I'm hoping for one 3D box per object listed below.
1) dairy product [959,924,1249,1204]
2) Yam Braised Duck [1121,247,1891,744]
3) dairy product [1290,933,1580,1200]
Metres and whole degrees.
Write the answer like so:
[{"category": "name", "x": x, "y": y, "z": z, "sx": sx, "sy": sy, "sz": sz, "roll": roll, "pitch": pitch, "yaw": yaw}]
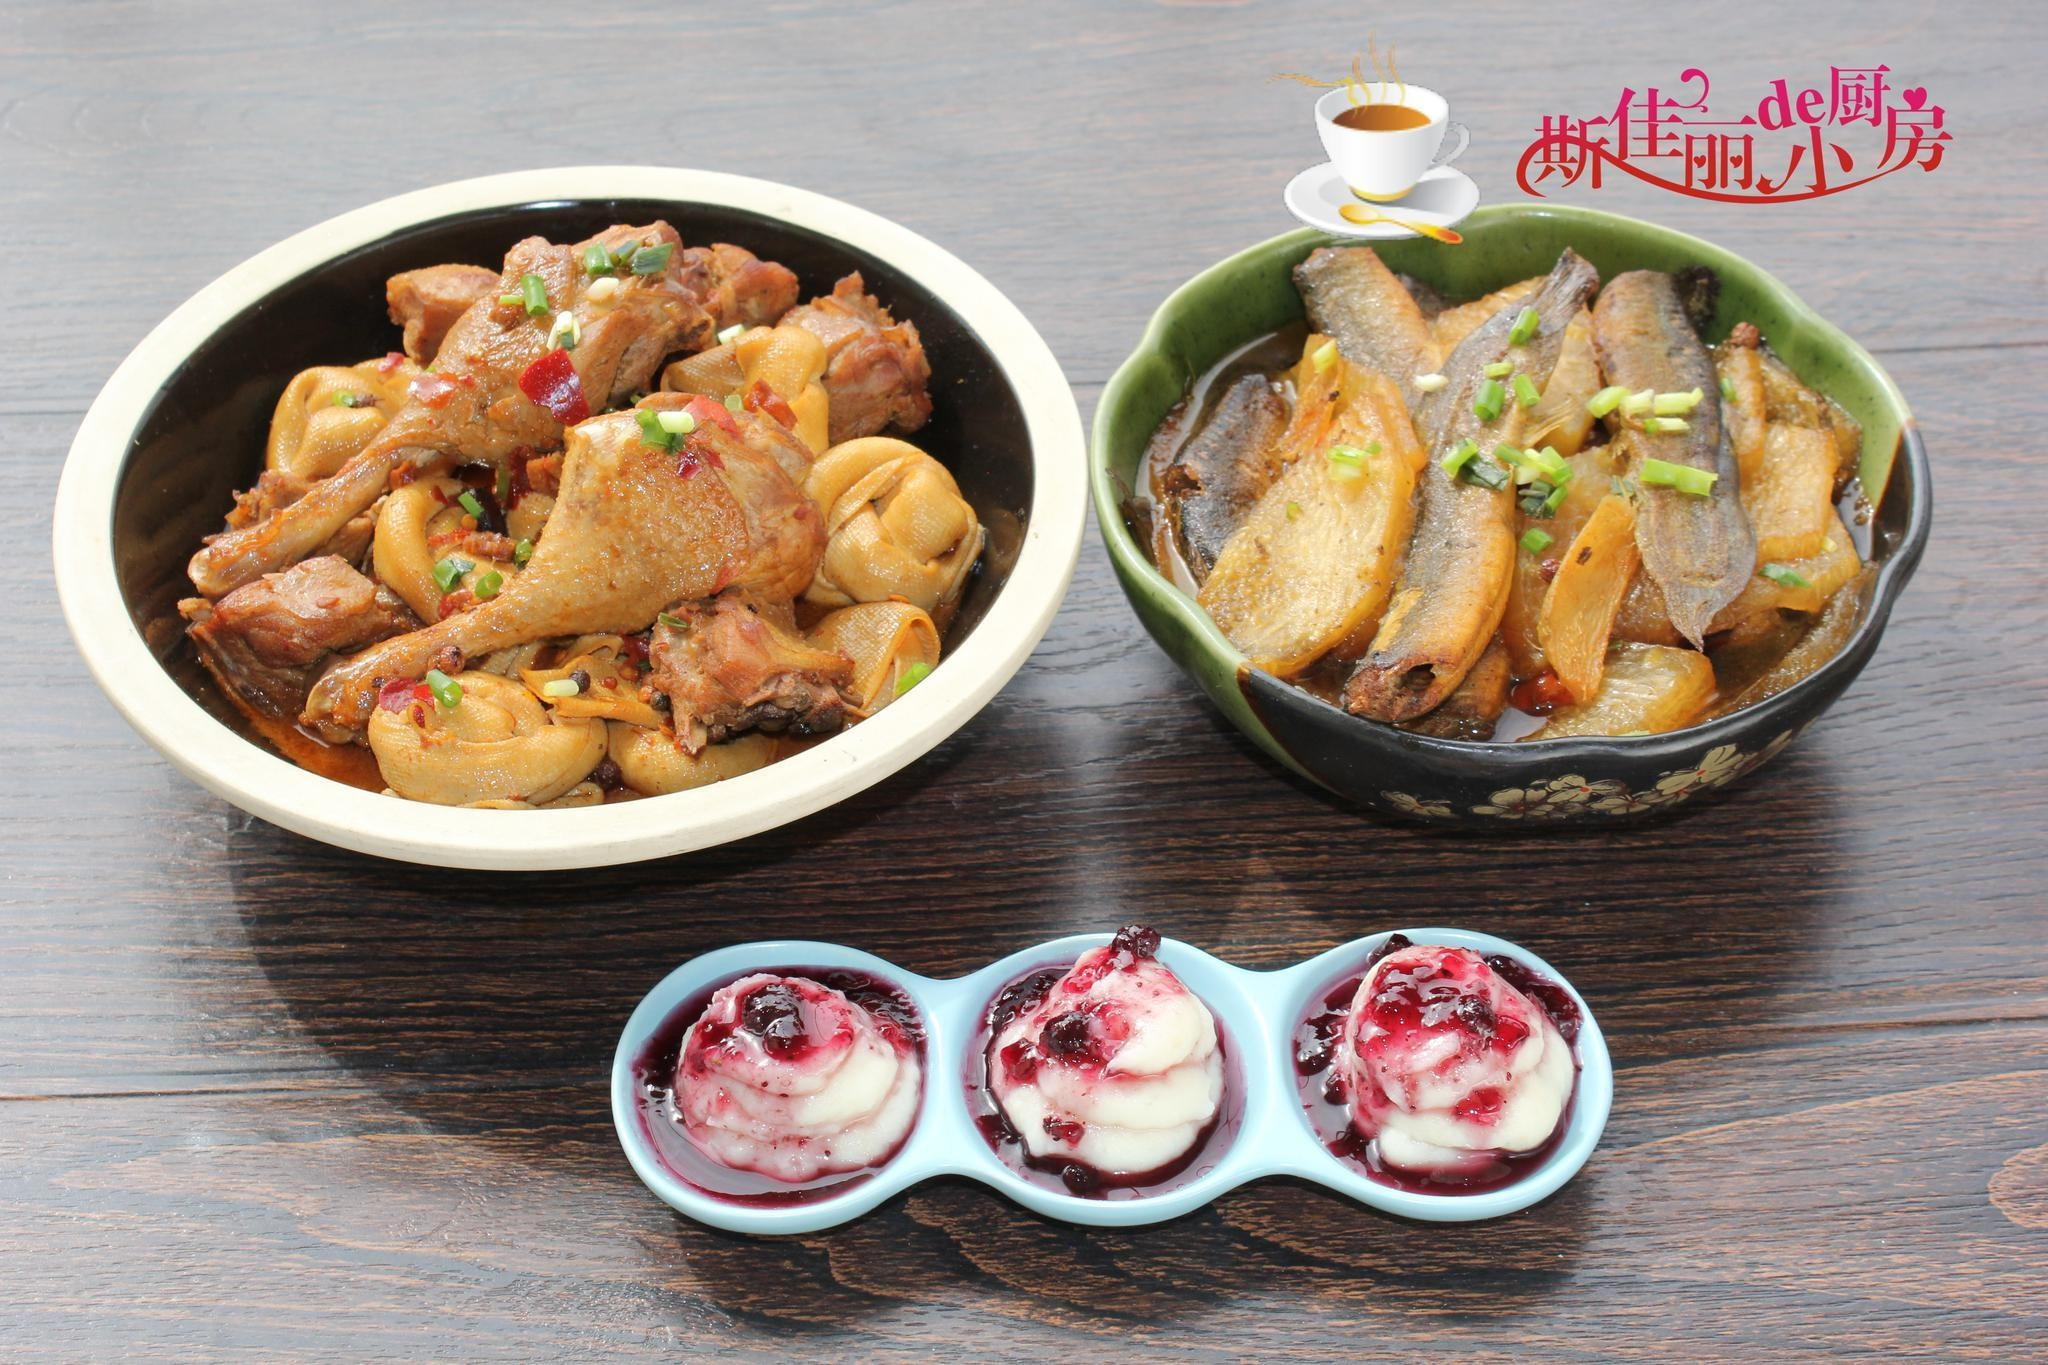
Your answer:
[{"category": "dairy product", "x": 0.097, "y": 0.531, "z": 2.846, "sx": 0.368, "sy": 0.156, "sz": 0.388, "roll": -18, "pitch": 54, "yaw": -9}, {"category": "Yam Braised Duck", "x": 0.758, "y": -0.281, "z": 3.157, "sx": 1.352, "sy": 0.290, "sz": 0.853, "roll": 2, "pitch": 40, "yaw": 8}, {"category": "dairy product", "x": 0.572, "y": 0.523, "z": 2.831, "sx": 0.397, "sy": 0.170, "sz": 0.350, "roll": 2, "pitch": 54, "yaw": 5}]
